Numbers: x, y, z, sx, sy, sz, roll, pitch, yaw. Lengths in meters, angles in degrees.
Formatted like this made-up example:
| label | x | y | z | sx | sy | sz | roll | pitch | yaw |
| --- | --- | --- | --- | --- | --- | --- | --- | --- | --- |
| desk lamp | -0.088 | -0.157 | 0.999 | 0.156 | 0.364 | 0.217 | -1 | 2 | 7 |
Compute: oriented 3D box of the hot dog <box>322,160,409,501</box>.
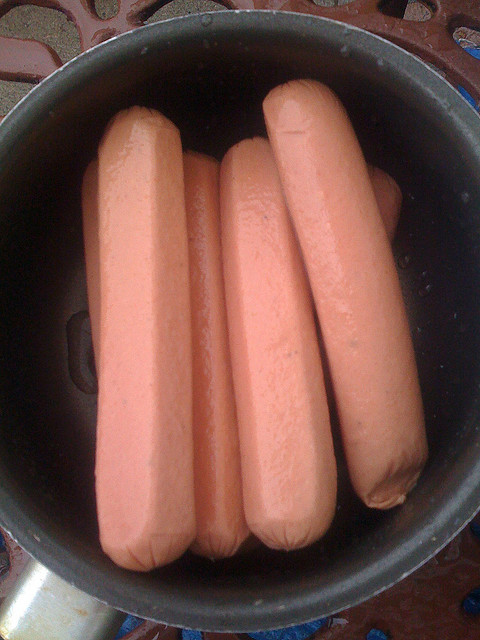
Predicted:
| label | x | y | z | sx | sy | sz | roll | pitch | yaw |
| --- | --- | --- | --- | --- | --- | --- | --- | --- | --- |
| hot dog | 0.180 | 0.025 | 1.057 | 0.109 | 0.113 | 0.468 | -7 | 84 | 2 |

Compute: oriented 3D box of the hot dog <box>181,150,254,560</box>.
| label | x | y | z | sx | sy | sz | roll | pitch | yaw |
| --- | --- | --- | --- | --- | --- | --- | --- | --- | --- |
| hot dog | -0.040 | 0.041 | 1.016 | 0.085 | 0.081 | 0.538 | -4 | 82 | -6 |

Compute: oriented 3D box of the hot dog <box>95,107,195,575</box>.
| label | x | y | z | sx | sy | sz | roll | pitch | yaw |
| --- | --- | --- | --- | --- | --- | --- | --- | --- | --- |
| hot dog | -0.105 | 0.027 | 0.957 | 0.103 | 0.132 | 0.564 | -5 | 84 | 4 |

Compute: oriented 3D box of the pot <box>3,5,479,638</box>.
| label | x | y | z | sx | sy | sz | roll | pitch | yaw |
| --- | --- | --- | --- | --- | --- | --- | --- | --- | --- |
| pot | -0.001 | 0.016 | 0.970 | 0.589 | 0.325 | 0.669 | -6 | 83 | -1 |

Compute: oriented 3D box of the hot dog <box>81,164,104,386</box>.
| label | x | y | z | sx | sy | sz | roll | pitch | yaw |
| --- | --- | --- | --- | --- | --- | --- | --- | --- | --- |
| hot dog | -0.196 | -0.122 | 1.019 | 0.022 | 0.021 | 0.157 | -2 | 102 | -32 |
